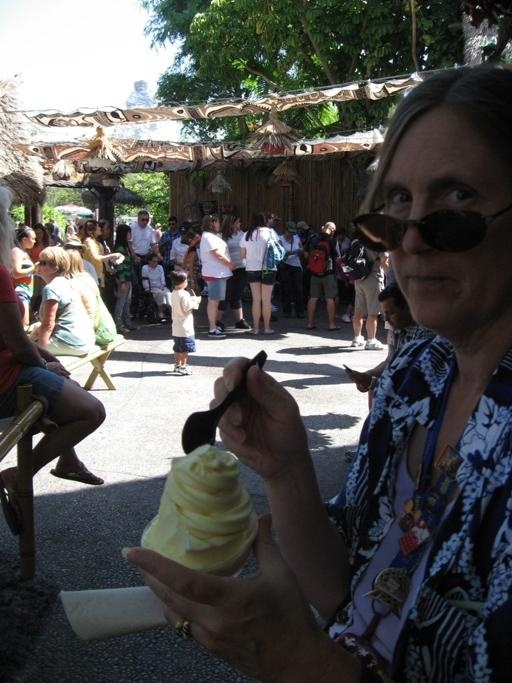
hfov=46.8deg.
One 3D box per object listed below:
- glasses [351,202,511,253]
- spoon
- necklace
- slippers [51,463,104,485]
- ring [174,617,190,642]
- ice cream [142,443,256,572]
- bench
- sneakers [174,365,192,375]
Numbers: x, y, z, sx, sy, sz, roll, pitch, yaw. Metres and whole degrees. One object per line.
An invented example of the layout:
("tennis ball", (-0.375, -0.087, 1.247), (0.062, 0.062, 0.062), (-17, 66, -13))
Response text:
("glasses", (0.325, -0.225, 1.207), (0.115, 0.094, 0.427), (-5, 13, -14))
("spoon", (-0.016, 0.123, 1.284), (0.105, 0.094, 0.316), (41, 46, 1))
("necklace", (0.418, 0.220, 1.418), (0.456, 0.535, 0.196), (4, -16, 17))
("slippers", (-1.172, 0.897, 3.939), (0.402, 0.107, 0.137), (17, 4, -19))
("ring", (-0.124, 0.481, 0.996), (0.031, 0.013, 0.036), (1, 17, -17))
("ice cream", (-0.095, 0.277, 1.069), (0.217, 0.172, 0.215), (19, 25, 30))
("bench", (-1.813, -0.022, 6.440), (0.626, 0.282, 1.277), (3, 5, 7))
("sneakers", (-0.951, 0.368, 7.618), (0.253, 0.101, 0.101), (-1, 1, 44))
